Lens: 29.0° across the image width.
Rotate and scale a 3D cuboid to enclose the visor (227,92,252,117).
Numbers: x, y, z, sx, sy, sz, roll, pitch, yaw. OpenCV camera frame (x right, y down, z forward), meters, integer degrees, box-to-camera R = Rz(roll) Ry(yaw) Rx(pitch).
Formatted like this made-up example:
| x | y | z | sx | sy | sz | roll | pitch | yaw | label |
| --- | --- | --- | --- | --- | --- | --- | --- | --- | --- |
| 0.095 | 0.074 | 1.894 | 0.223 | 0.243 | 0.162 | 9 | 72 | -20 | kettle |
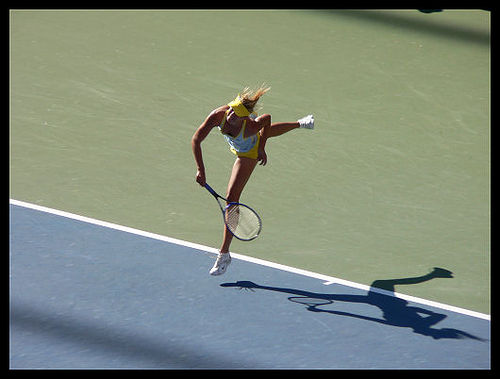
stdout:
| x | y | z | sx | sy | sz | roll | pitch | yaw | label |
| --- | --- | --- | --- | --- | --- | --- | --- | --- | --- |
| -0.129 | -0.911 | 10.563 | 0.251 | 0.132 | 0.187 | 40 | 6 | -24 | visor |
